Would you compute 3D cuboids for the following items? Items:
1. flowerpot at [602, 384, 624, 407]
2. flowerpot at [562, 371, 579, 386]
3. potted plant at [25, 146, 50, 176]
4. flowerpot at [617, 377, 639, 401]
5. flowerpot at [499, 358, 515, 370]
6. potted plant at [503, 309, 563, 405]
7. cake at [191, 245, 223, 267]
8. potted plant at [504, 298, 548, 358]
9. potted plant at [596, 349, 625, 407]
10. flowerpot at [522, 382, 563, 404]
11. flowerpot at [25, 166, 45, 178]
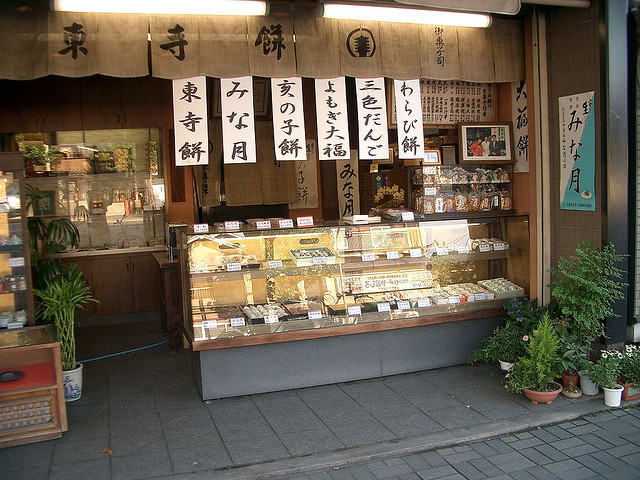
[{"bbox_3d":[3.166,1.688,4.903,0.223,0.201,0.224,1,-1,5],"label":"flowerpot"},{"bbox_3d":[2.880,1.588,5.192,0.166,0.122,0.165,-1,2,-3],"label":"flowerpot"},{"bbox_3d":[-4.914,-1.394,7.955,0.476,0.489,0.433,-6,14,-36],"label":"potted plant"},{"bbox_3d":[3.425,1.636,5.043,0.207,0.127,0.204,-3,4,-16],"label":"flowerpot"},{"bbox_3d":[2.284,1.524,5.553,0.156,0.136,0.093,5,12,29],"label":"flowerpot"},{"bbox_3d":[2.439,1.336,5.181,0.633,0.952,0.602,6,-9,-27],"label":"potted plant"},{"bbox_3d":[-1.296,0.185,5.246,0.385,0.255,0.209,-1,-1,-32],"label":"cake"},{"bbox_3d":[2.631,1.057,5.938,0.565,0.632,0.387,-17,-36,27],"label":"potted plant"},{"bbox_3d":[3.260,1.524,5.060,0.249,0.489,0.473,6,13,35],"label":"potted plant"},{"bbox_3d":[2.473,1.693,4.998,0.442,0.172,0.198,-1,11,2],"label":"flowerpot"},{"bbox_3d":[-4.994,-1.212,7.968,0.341,0.183,0.224,0,7,-13],"label":"flowerpot"}]
